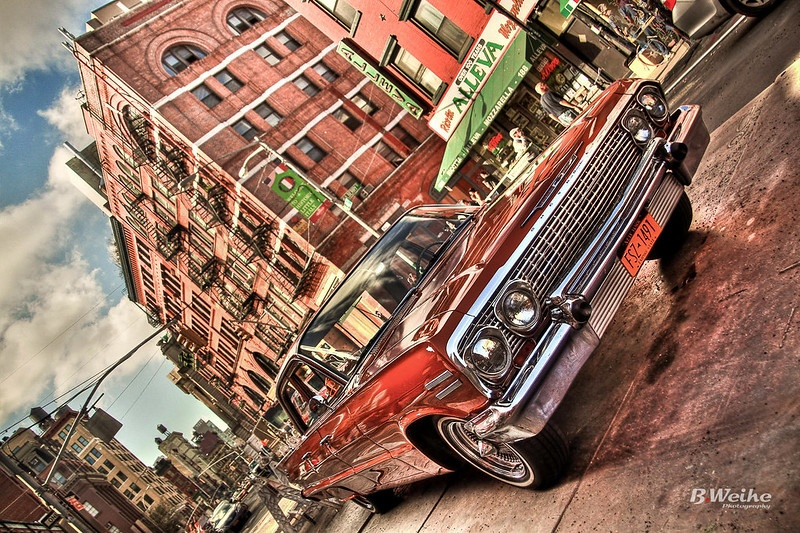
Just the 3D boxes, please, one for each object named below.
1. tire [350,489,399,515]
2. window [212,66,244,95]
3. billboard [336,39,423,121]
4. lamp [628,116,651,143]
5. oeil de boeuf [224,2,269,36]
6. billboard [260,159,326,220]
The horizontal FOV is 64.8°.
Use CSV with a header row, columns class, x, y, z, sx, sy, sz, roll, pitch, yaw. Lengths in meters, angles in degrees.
class,x,y,z,sx,sy,sz,roll,pitch,yaw
tire,-0.490,4.174,11.324,0.684,0.271,0.522,-10,3,24
window,-7.642,-8.311,28.014,1.182,1.102,0.278,-41,-4,-31
billboard,-0.806,-7.491,25.413,0.982,4.732,0.814,-47,-2,-13
lamp,3.631,-2.093,9.633,0.299,0.434,0.099,-26,6,-20
oeil de boeuf,-7.438,-11.784,29.972,1.843,1.734,0.131,-16,-15,-37
billboard,-4.272,-2.924,24.330,1.331,2.211,0.120,-48,2,-6
